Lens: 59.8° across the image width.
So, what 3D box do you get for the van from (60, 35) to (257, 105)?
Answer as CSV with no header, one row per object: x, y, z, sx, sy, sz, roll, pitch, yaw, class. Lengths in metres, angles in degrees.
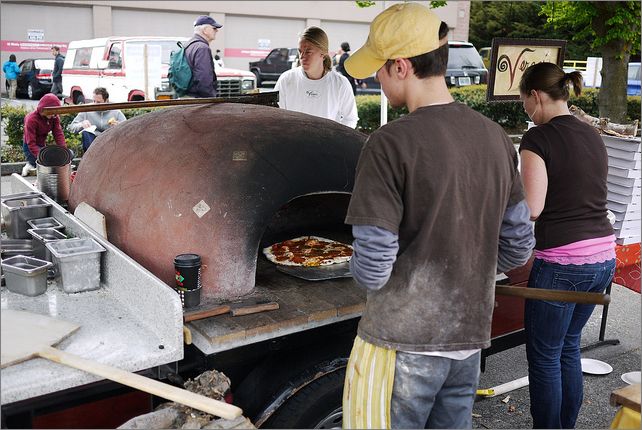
-4.233,-3.355,14.252,4.838,2.148,2.952,10,15,41,van

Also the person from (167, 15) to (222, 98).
-1.650,-2.021,7.334,0.635,1.098,0.733,-10,21,-31,person

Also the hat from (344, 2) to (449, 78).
0.348,-0.859,2.731,0.481,0.350,0.190,-2,12,1,hat

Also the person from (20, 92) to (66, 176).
-3.918,-1.097,7.854,0.780,1.179,0.560,16,21,19,person

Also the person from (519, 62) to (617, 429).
1.731,0.222,3.980,1.189,2.076,1.003,0,-2,6,person

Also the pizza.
-0.047,0.279,4.314,0.768,0.043,0.783,-5,12,-16,pizza

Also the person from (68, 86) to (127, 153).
-3.295,-1.402,8.133,0.721,0.898,0.985,-7,13,-23,person
